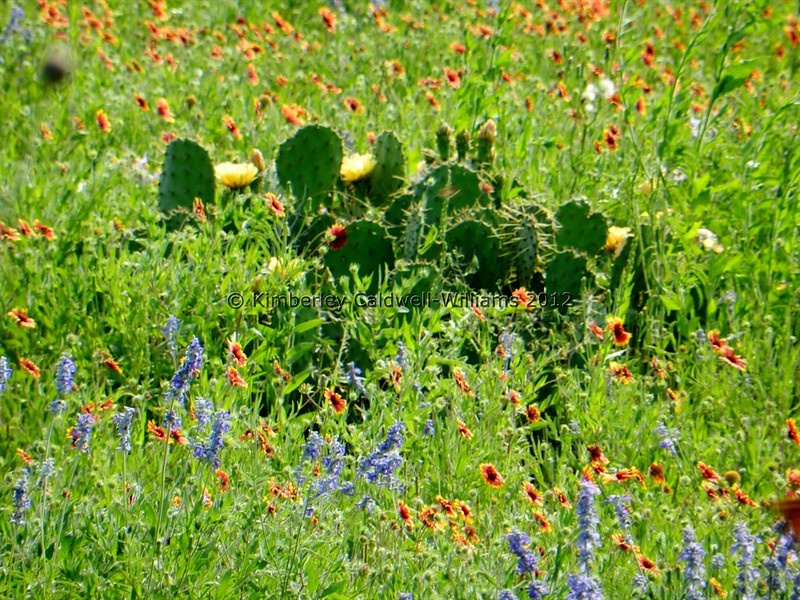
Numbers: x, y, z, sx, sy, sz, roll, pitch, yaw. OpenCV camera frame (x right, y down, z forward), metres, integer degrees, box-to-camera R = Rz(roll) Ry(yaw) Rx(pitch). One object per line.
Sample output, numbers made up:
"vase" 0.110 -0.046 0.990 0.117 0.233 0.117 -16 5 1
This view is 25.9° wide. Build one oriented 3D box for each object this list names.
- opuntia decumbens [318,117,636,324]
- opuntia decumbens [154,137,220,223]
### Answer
"opuntia decumbens" 0.389 -0.247 6.667 0.711 0.646 1.007 2 -12 45
"opuntia decumbens" -0.811 -0.489 6.722 0.215 0.356 0.271 5 27 3
